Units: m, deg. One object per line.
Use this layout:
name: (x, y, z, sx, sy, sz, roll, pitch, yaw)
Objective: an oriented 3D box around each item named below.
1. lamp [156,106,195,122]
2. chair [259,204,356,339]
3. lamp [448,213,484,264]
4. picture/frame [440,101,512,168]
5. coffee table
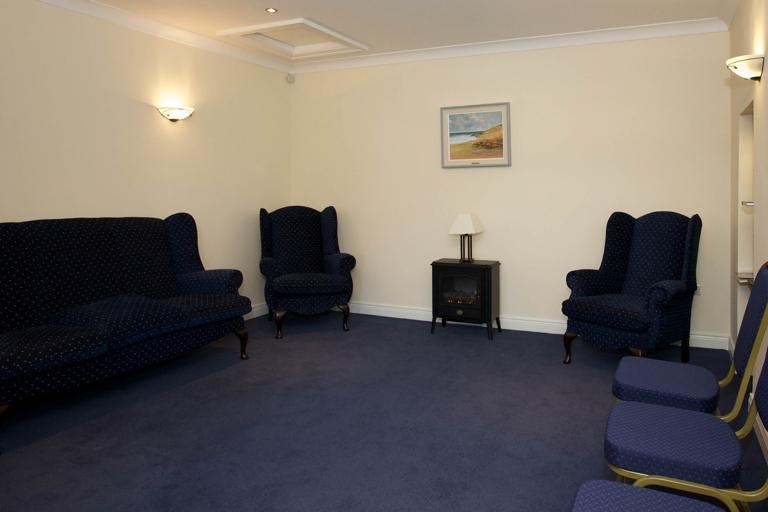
lamp: (-2.213, -1.530, 5.601, 0.210, 0.156, 0.417, 6, 10, 29)
chair: (-0.938, 0.133, 6.231, 1.090, 1.407, 1.062, -1, 9, -14)
lamp: (0.950, -0.218, 5.995, 0.358, 0.546, 0.492, 2, 9, 10)
picture/frame: (1.114, -1.432, 6.057, 0.797, 0.687, 0.063, 1, 6, 26)
coffee table: (0.944, 0.472, 5.917, 0.792, 0.819, 0.501, 3, 9, 13)
